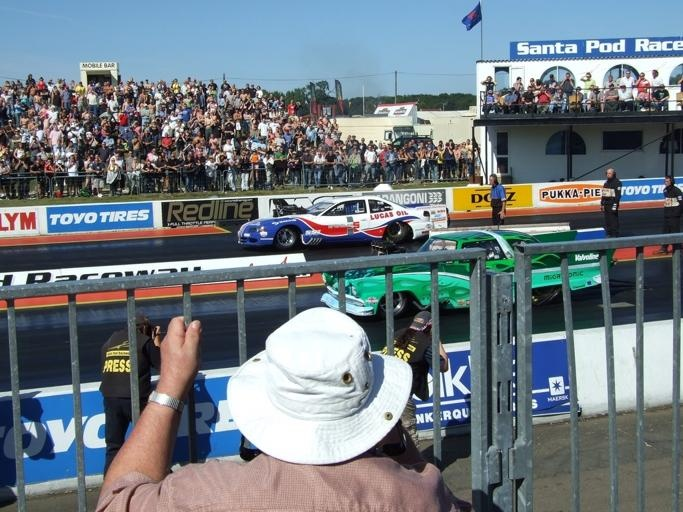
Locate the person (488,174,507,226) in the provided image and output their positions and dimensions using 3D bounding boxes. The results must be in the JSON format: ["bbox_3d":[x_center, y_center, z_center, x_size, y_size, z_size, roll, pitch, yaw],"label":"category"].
[{"bbox_3d":[4.612,-1.623,38.797,0.383,1.463,1.771,-3,2,7],"label":"person"}]

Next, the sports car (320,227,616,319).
[{"bbox_3d":[3.476,0.328,30.536,5.666,1.613,3.024,-5,6,6],"label":"sports car"}]

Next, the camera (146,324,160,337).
[{"bbox_3d":[-3.448,1.378,24.209,0.242,0.098,0.364,1,-26,-1],"label":"camera"}]

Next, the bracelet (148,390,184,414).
[{"bbox_3d":[-2.789,2.333,21.183,0.466,0.465,0.301,21,25,-31],"label":"bracelet"}]
